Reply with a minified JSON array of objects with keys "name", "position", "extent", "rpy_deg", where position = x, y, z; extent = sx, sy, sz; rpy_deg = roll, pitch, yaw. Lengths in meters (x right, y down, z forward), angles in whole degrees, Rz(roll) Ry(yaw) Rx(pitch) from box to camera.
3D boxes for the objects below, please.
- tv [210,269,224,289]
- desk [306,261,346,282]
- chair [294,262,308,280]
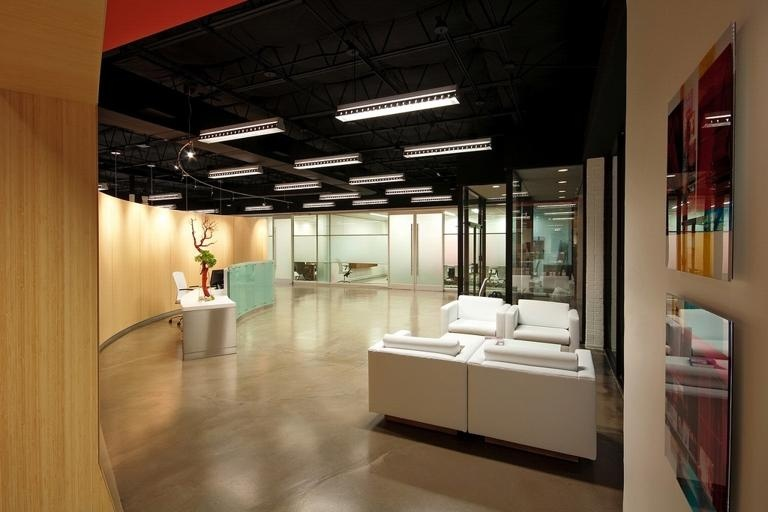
[{"name":"tv","position":[-3.333,0.495,9.966],"extent":[0.267,0.330,0.342],"rpy_deg":[11,6,40]},{"name":"desk","position":[-2.174,0.591,18.412],"extent":[1.712,0.772,0.328],"rpy_deg":[4,11,21]},{"name":"chair","position":[-3.174,0.587,19.207],"extent":[0.597,0.714,0.575],"rpy_deg":[0,-1,9]}]
